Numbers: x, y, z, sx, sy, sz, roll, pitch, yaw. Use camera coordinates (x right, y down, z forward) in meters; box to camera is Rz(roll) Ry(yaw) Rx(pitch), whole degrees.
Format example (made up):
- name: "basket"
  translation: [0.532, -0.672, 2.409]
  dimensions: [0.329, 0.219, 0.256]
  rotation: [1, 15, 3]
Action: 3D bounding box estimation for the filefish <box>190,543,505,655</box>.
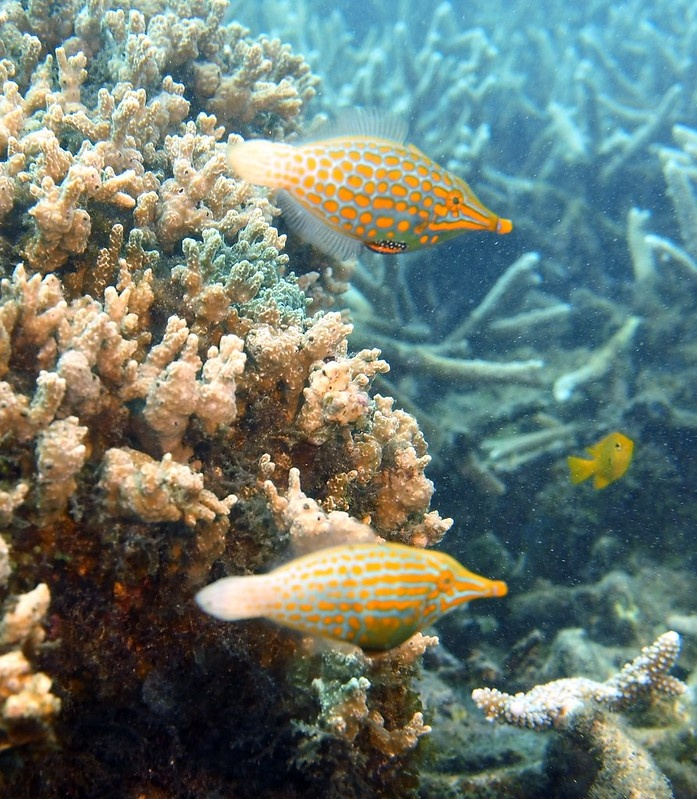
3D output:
- name: "filefish"
  translation: [0.015, 0.853, 4.048]
  dimensions: [1.241, 0.317, 0.306]
  rotation: [0, 52, -6]
